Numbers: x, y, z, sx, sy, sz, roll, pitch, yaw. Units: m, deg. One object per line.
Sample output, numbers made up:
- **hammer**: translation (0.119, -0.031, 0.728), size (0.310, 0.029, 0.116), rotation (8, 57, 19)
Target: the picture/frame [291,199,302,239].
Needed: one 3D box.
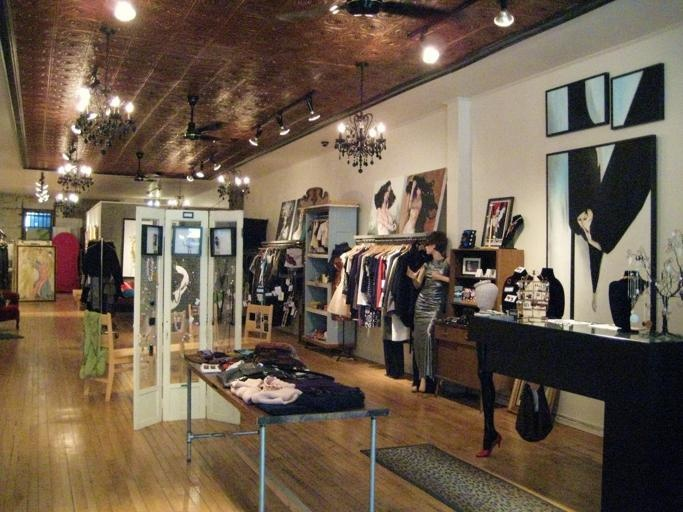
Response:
- **picture/frame**: translation (-0.964, -0.783, 11.002), size (0.086, 0.876, 0.752), rotation (5, -13, -19)

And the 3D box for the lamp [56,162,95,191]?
- **lamp**: translation (-6.418, -1.976, 12.304), size (0.681, 0.971, 0.733), rotation (2, 3, -5)

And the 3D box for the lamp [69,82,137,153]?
- **lamp**: translation (-2.754, -1.705, 5.942), size (0.543, 0.747, 0.971), rotation (2, 1, -29)

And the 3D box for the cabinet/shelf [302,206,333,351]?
- **cabinet/shelf**: translation (-0.430, 0.367, 9.866), size (0.437, 1.861, 0.983), rotation (2, 1, -21)

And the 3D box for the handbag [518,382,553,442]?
- **handbag**: translation (1.867, 1.510, 4.906), size (0.337, 0.553, 0.182), rotation (2, 1, 6)

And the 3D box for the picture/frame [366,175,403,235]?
- **picture/frame**: translation (0.726, -0.850, 8.386), size (0.122, 1.316, 0.923), rotation (13, -13, -26)

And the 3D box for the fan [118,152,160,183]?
- **fan**: translation (-5.273, -2.358, 13.629), size (0.801, 0.907, 0.791), rotation (1, 7, 10)

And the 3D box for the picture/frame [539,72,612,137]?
- **picture/frame**: translation (2.700, -1.740, 5.808), size (0.081, 0.673, 0.843), rotation (2, -1, -27)

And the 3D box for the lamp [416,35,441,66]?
- **lamp**: translation (0.899, -2.275, 5.579), size (0.082, 0.377, 0.263), rotation (-24, -6, 27)

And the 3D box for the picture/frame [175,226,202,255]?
- **picture/frame**: translation (-1.779, -0.184, 5.869), size (0.294, 0.347, 0.042), rotation (2, -3, -25)

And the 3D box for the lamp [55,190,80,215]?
- **lamp**: translation (-9.807, -1.955, 18.170), size (0.830, 1.282, 0.851), rotation (1, 2, -29)

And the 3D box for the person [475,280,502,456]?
- **person**: translation (1.543, 1.149, 5.353), size (0.290, 1.587, 1.036), rotation (2, 1, 16)

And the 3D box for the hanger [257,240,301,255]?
- **hanger**: translation (-1.255, -0.226, 10.869), size (0.490, 0.184, 1.473), rotation (2, 1, -25)

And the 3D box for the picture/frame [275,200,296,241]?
- **picture/frame**: translation (-1.265, -0.835, 11.668), size (0.095, 1.030, 0.961), rotation (11, -8, -19)

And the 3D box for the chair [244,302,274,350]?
- **chair**: translation (-1.170, 0.994, 7.069), size (0.334, 0.702, 1.477), rotation (2, 1, -10)

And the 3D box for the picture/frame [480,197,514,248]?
- **picture/frame**: translation (1.993, -0.452, 6.601), size (0.266, 0.599, 0.396), rotation (1, 1, -41)

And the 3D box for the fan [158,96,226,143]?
- **fan**: translation (-2.479, -2.346, 8.942), size (0.688, 0.652, 0.682), rotation (-5, 7, -43)

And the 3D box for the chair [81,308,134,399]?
- **chair**: translation (-3.232, 1.289, 7.058), size (0.640, 1.192, 1.588), rotation (2, 1, -23)
